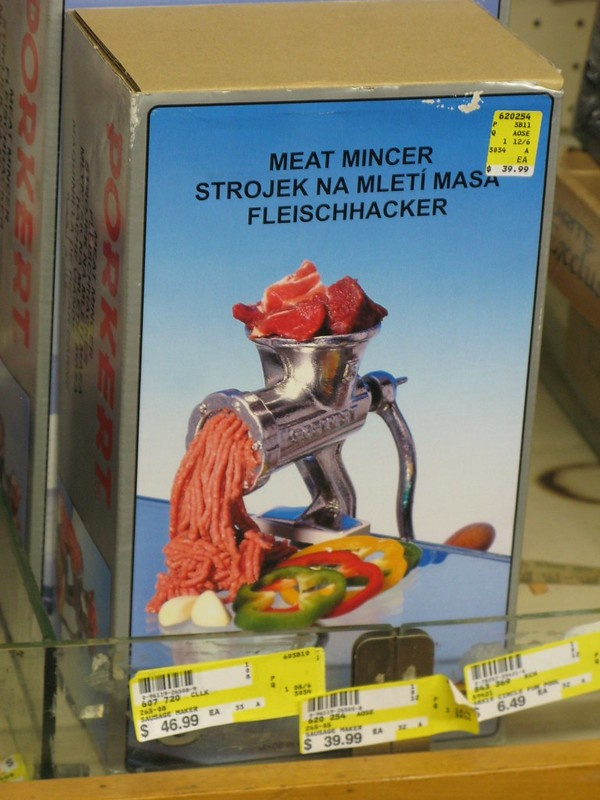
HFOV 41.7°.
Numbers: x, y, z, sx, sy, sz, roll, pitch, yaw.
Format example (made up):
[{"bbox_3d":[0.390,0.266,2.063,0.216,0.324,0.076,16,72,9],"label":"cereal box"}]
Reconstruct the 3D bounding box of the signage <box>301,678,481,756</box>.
[{"bbox_3d":[0.086,0.319,0.811,0.191,0.063,0.049,2,-17,-17],"label":"signage"}]
